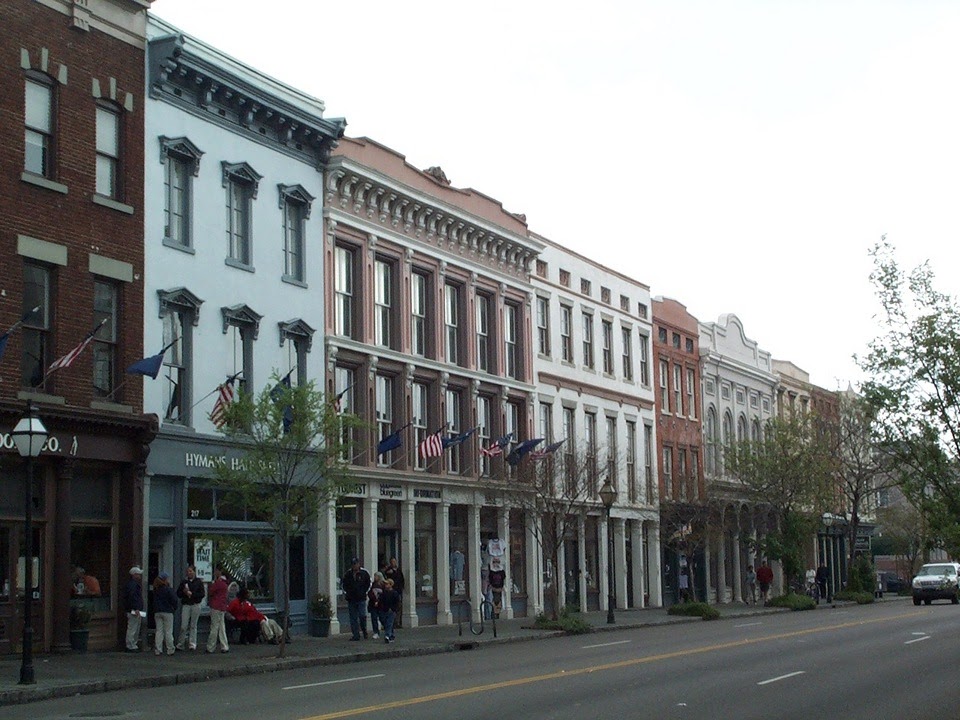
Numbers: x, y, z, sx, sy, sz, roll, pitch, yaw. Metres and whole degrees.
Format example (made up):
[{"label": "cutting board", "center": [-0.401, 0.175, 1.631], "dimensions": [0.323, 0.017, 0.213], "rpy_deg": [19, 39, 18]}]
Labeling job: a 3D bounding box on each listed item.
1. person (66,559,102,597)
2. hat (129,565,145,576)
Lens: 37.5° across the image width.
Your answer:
[{"label": "person", "center": [-10.256, 5.764, 36.621], "dimensions": [0.738, 1.226, 0.546], "rpy_deg": [-9, -3, -13]}, {"label": "hat", "center": [-8.901, 5.407, 36.509], "dimensions": [0.386, 0.248, 0.310], "rpy_deg": [-7, 0, 19]}]
